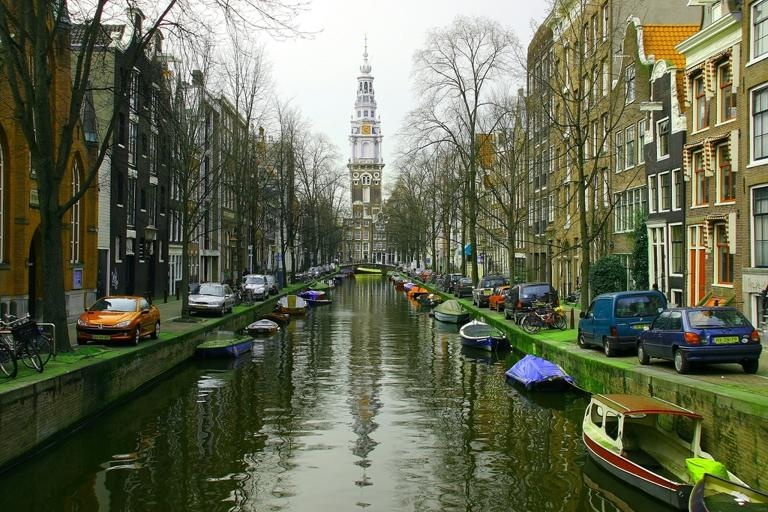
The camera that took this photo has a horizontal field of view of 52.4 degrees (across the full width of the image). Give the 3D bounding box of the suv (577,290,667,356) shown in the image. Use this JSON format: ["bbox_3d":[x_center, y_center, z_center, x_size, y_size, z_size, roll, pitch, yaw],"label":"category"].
[{"bbox_3d":[8.290,2.178,27.907,1.773,1.563,2.992,-1,5,-11],"label":"suv"}]

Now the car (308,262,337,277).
[{"bbox_3d":[-7.590,1.938,94.910,1.545,0.788,2.622,1,11,34],"label":"car"}]

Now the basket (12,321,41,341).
[{"bbox_3d":[-10.296,2.181,22.415,0.371,0.558,0.979,1,9,5],"label":"basket"}]

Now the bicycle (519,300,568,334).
[{"bbox_3d":[6.923,2.736,34.447,2.204,1.269,1.094,-3,-2,-14],"label":"bicycle"}]

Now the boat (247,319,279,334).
[{"bbox_3d":[-6.330,3.724,40.282,1.594,0.655,1.013,-2,9,-18],"label":"boat"}]

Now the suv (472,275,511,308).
[{"bbox_3d":[6.254,2.017,47.040,1.324,1.146,2.354,0,6,1],"label":"suv"}]

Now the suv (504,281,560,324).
[{"bbox_3d":[6.808,2.041,37.270,1.504,1.297,2.654,-2,6,-4],"label":"suv"}]

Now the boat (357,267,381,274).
[{"bbox_3d":[-2.613,2.654,141.868,2.242,1.258,5.670,-6,10,-35],"label":"boat"}]

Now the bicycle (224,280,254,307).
[{"bbox_3d":[-8.380,2.302,45.884,2.261,1.377,1.039,-3,4,26],"label":"bicycle"}]

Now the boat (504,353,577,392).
[{"bbox_3d":[5.434,4.230,27.576,1.470,0.958,2.331,-4,9,-26],"label":"boat"}]

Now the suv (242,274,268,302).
[{"bbox_3d":[-8.208,2.045,49.365,1.530,1.395,3.243,-1,-2,-5],"label":"suv"}]

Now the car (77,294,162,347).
[{"bbox_3d":[-9.666,2.439,28.520,2.015,1.639,2.736,3,9,17],"label":"car"}]

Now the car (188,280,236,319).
[{"bbox_3d":[-8.793,2.261,39.820,1.655,1.109,3.168,-1,-4,-3],"label":"car"}]

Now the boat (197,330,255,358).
[{"bbox_3d":[-6.661,3.784,32.980,1.323,0.983,2.498,9,12,44],"label":"boat"}]

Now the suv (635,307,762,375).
[{"bbox_3d":[9.377,2.472,24.216,1.824,1.330,3.043,-1,2,-5],"label":"suv"}]
